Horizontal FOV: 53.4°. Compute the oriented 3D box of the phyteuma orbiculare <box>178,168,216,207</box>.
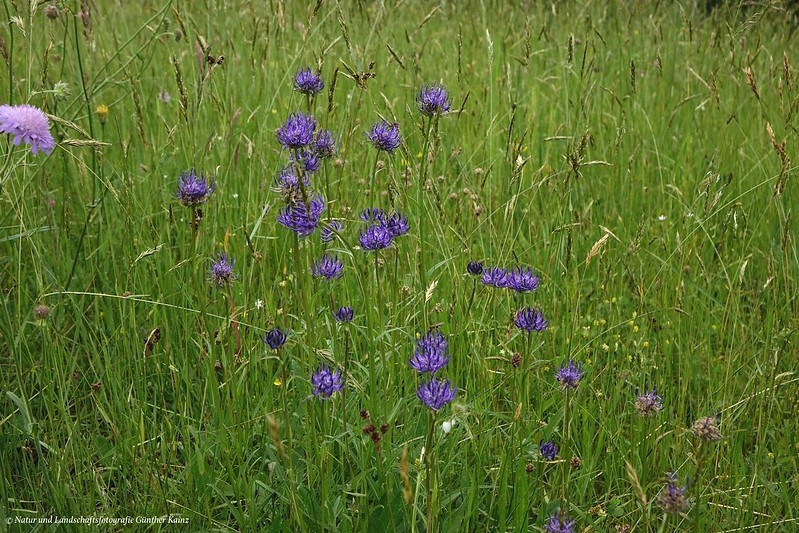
[{"bbox_3d":[-0.905,-0.346,3.564,0.148,0.197,0.174,1,8,0],"label":"phyteuma orbiculare"}]

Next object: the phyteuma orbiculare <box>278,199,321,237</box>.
[{"bbox_3d":[-0.452,-0.230,3.642,0.152,0.099,0.169,8,47,42],"label":"phyteuma orbiculare"}]

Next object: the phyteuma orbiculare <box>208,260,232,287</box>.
[{"bbox_3d":[-0.812,0.025,3.662,0.098,0.144,0.105,-2,30,-17],"label":"phyteuma orbiculare"}]

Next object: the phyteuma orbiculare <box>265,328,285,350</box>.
[{"bbox_3d":[-0.549,0.320,3.541,0.080,0.113,0.088,4,13,19],"label":"phyteuma orbiculare"}]

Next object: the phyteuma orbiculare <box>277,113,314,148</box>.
[{"bbox_3d":[-0.470,-0.613,3.621,0.170,0.135,0.186,-12,-9,34],"label":"phyteuma orbiculare"}]

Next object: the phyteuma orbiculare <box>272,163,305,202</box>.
[{"bbox_3d":[-0.487,-0.387,3.639,0.151,0.208,0.146,-16,20,-43],"label":"phyteuma orbiculare"}]
